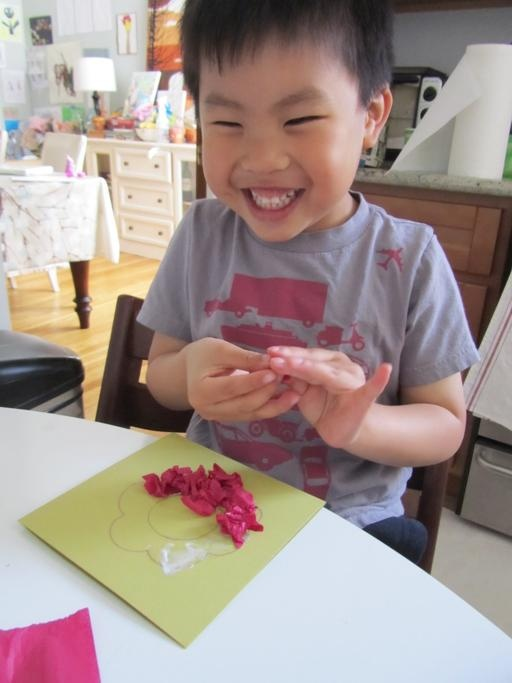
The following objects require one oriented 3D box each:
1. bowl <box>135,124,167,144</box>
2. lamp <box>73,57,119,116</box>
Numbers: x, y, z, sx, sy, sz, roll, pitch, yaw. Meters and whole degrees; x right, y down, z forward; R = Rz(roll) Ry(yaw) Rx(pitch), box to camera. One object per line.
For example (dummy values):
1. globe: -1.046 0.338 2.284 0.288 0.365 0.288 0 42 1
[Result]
1. bowl: -0.792 -1.571 3.859 0.174 0.077 0.182 5 13 -1
2. lamp: -1.284 -2.060 4.113 0.295 0.429 0.435 3 24 1
